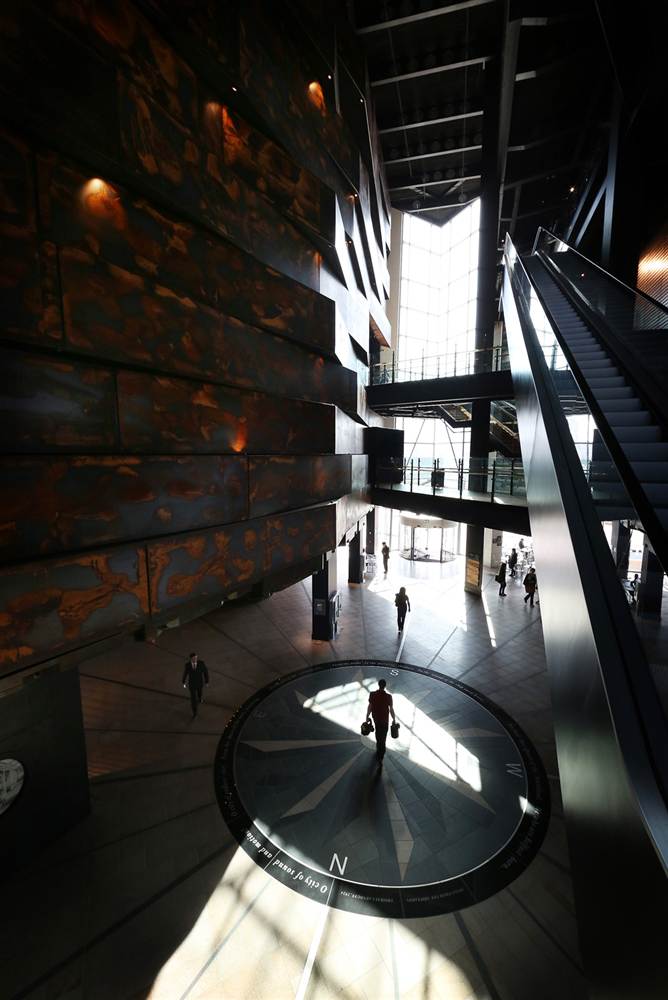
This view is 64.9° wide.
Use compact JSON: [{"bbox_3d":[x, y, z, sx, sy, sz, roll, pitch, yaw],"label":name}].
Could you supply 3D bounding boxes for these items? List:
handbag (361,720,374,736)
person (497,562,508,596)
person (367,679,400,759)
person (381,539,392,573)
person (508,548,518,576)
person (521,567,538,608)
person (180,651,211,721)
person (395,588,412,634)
[{"bbox_3d":[0.503,3.489,8.042,0.174,0.316,0.258,4,-28,4],"label":"handbag"},{"bbox_3d":[5.632,2.541,17.688,0.266,1.179,1.400,2,6,18],"label":"person"},{"bbox_3d":[0.745,3.318,8.031,0.425,1.504,0.693,1,5,9],"label":"person"},{"bbox_3d":[2.170,2.370,22.061,0.355,1.516,0.554,-6,15,-5],"label":"person"},{"bbox_3d":[6.546,2.330,19.424,0.272,1.195,1.196,2,6,15],"label":"person"},{"bbox_3d":[6.100,2.720,16.407,0.284,1.002,1.199,2,6,19],"label":"person"},{"bbox_3d":[-2.573,3.233,9.846,0.409,1.225,1.184,-1,6,-15],"label":"person"},{"bbox_3d":[1.845,2.788,14.272,0.336,1.344,1.656,1,6,7],"label":"person"}]
